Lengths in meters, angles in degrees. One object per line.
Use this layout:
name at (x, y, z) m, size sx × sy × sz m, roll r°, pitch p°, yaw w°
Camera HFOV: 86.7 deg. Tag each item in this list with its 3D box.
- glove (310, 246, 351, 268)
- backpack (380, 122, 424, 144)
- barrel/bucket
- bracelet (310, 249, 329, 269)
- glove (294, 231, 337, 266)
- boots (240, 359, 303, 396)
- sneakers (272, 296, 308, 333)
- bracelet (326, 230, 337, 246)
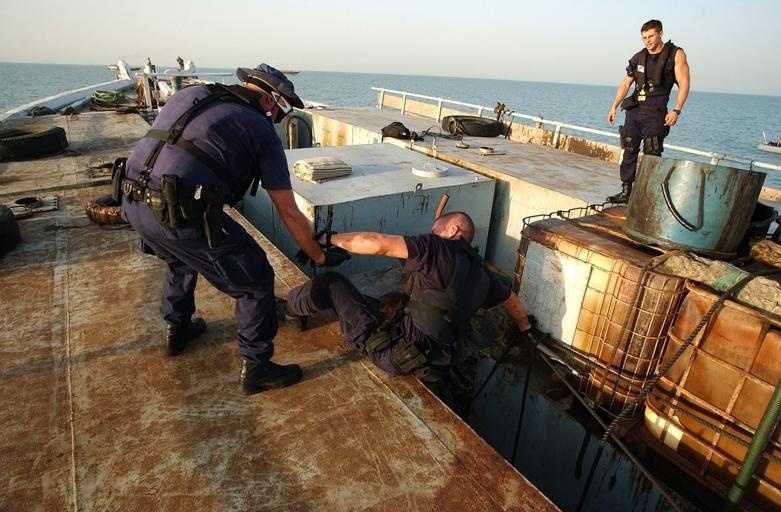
glove at (-0.572, 0.024, 4.068) m, size 0.323 × 0.087 × 0.228 m, roll -4°, pitch 23°, yaw -18°
backpack at (0.253, -2.720, 9.169) m, size 0.781 × 0.334 × 0.565 m, roll 5°, pitch 17°, yaw 6°
barrel/bucket at (2.612, -0.470, 3.654) m, size 1.061 × 0.669 × 1.017 m, roll 16°, pitch 9°, yaw -3°
bracelet at (-0.683, 0.035, 4.024) m, size 0.203 × 0.093 × 0.248 m, roll 0°, pitch 7°, yaw 5°
glove at (-0.690, -0.015, 4.054) m, size 0.448 × 0.310 × 0.155 m, roll -30°, pitch 19°, yaw -4°
boots at (-1.054, 0.988, 3.762) m, size 0.566 × 0.357 × 0.226 m, roll -11°, pitch 26°, yaw -23°
sneakers at (-1.075, 0.570, 4.341) m, size 0.559 × 0.223 × 0.193 m, roll 25°, pitch 27°, yaw 38°
bracelet at (-0.597, -0.176, 4.077) m, size 0.108 × 0.133 × 0.142 m, roll 1°, pitch -5°, yaw -13°
